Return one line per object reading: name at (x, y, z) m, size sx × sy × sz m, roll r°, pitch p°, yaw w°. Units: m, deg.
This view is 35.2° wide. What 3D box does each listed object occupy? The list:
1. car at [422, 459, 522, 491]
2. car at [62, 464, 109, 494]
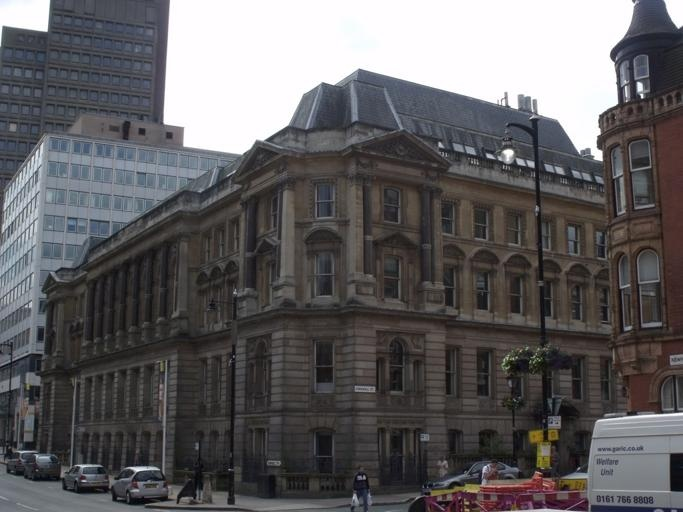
car at (7.467, 12.539, 61.982) m, size 5.364 × 1.908 × 3.968 m, roll 0°, pitch -19°, yaw -3°
car at (-18.171, 15.618, 75.668) m, size 1.901 × 1.357 × 3.037 m, roll 6°, pitch -9°, yaw -31°
